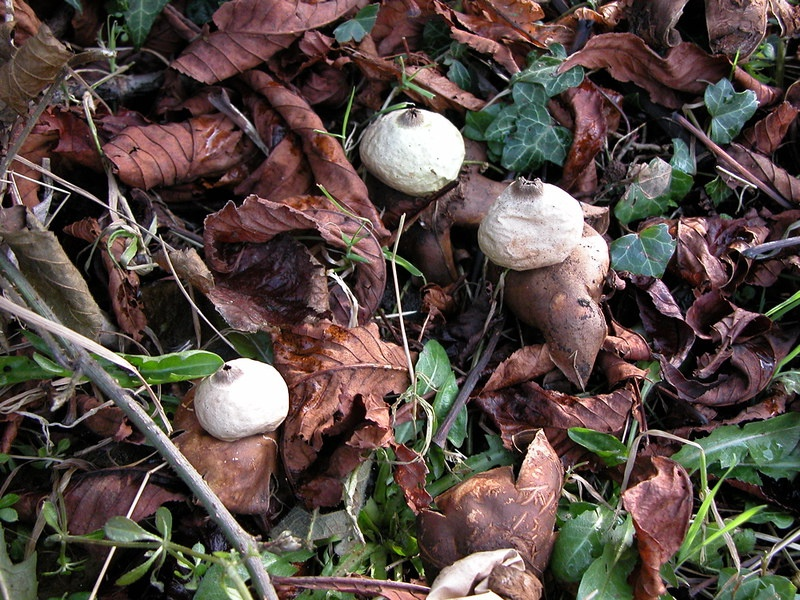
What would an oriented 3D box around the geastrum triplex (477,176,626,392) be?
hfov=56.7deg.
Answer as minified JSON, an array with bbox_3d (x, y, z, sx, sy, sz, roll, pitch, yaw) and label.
[{"bbox_3d":[0.386,-0.023,1.973,0.309,0.182,0.570,-19,98,-9],"label":"geastrum triplex"}]

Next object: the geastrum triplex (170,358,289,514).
[{"bbox_3d":[-0.401,0.331,1.810,0.276,0.149,0.389,-3,91,-8],"label":"geastrum triplex"}]
